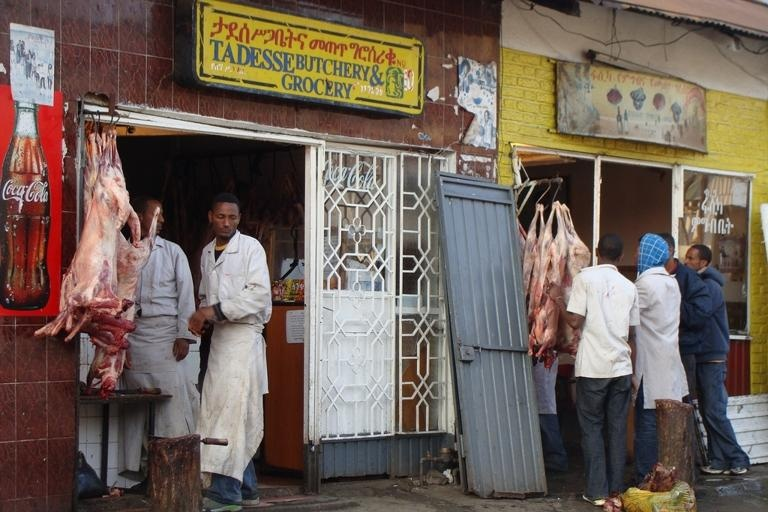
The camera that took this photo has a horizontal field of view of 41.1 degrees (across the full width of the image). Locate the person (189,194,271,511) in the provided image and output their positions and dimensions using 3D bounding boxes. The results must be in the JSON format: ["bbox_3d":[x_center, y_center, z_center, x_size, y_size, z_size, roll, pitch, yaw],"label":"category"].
[{"bbox_3d":[-1.536,0.953,10.260,0.761,3.153,0.473,1,-2,-7],"label":"person"}]

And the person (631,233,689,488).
[{"bbox_3d":[2.971,1.100,11.050,0.517,2.664,0.450,0,-2,10],"label":"person"}]

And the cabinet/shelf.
[{"bbox_3d":[-0.549,1.483,11.378,1.754,1.884,0.813,1,-2,1],"label":"cabinet/shelf"}]

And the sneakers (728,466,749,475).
[{"bbox_3d":[4.093,2.480,11.788,0.221,0.109,0.079,6,-7,-28],"label":"sneakers"}]

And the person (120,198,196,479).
[{"bbox_3d":[-2.329,0.828,10.642,0.806,2.827,0.438,1,-2,-12],"label":"person"}]

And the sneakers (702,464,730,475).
[{"bbox_3d":[3.851,2.503,11.881,0.310,0.167,0.125,10,-9,-5],"label":"sneakers"}]

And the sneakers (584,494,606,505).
[{"bbox_3d":[2.178,2.531,10.614,0.072,0.082,0.195,0,-2,-42],"label":"sneakers"}]

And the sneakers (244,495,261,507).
[{"bbox_3d":[-1.338,2.495,10.356,0.135,0.063,0.079,-4,-2,20],"label":"sneakers"}]

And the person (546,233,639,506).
[{"bbox_3d":[2.296,1.181,10.748,0.614,2.827,0.637,-1,-3,38],"label":"person"}]
